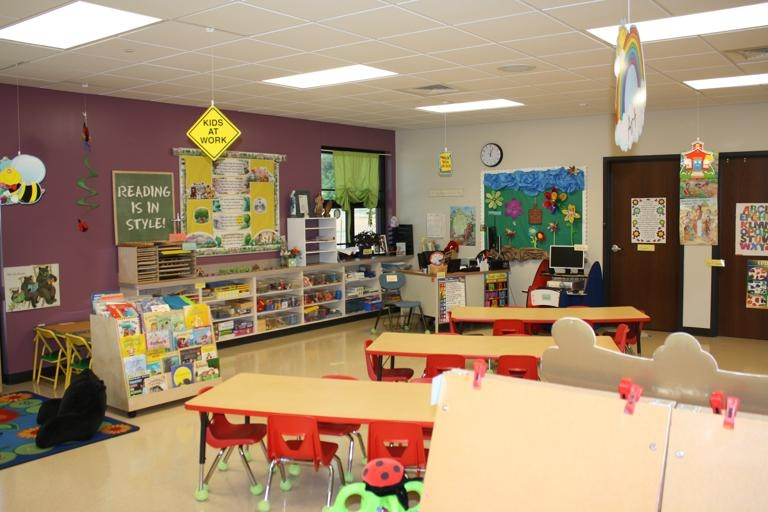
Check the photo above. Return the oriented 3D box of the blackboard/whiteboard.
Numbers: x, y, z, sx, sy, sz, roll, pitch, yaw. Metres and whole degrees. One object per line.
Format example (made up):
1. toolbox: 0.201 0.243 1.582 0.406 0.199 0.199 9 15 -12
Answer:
1. blackboard/whiteboard: -3.774 -0.743 8.432 0.097 1.351 1.178 1 4 40

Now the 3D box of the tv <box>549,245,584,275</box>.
1. tv: 3.334 0.005 9.881 0.831 0.591 0.453 2 3 34

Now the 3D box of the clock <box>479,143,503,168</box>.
1. clock: 2.179 -2.050 10.970 0.459 0.483 0.111 7 12 40

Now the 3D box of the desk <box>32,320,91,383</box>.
1. desk: -4.477 1.414 7.682 0.675 0.608 0.797 -5 -10 3

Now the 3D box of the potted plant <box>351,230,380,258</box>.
1. potted plant: -0.337 -0.254 11.564 0.697 0.662 0.474 -1 1 -40

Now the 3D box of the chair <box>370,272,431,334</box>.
1. chair: 0.304 0.866 10.052 0.824 1.147 0.892 -1 -2 -21

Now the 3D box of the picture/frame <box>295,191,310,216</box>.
1. picture/frame: -1.573 -1.021 10.431 0.049 0.665 0.505 -4 -1 31

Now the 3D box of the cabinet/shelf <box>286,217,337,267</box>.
1. cabinet/shelf: -1.428 -0.282 10.493 0.401 0.845 0.979 0 2 37
